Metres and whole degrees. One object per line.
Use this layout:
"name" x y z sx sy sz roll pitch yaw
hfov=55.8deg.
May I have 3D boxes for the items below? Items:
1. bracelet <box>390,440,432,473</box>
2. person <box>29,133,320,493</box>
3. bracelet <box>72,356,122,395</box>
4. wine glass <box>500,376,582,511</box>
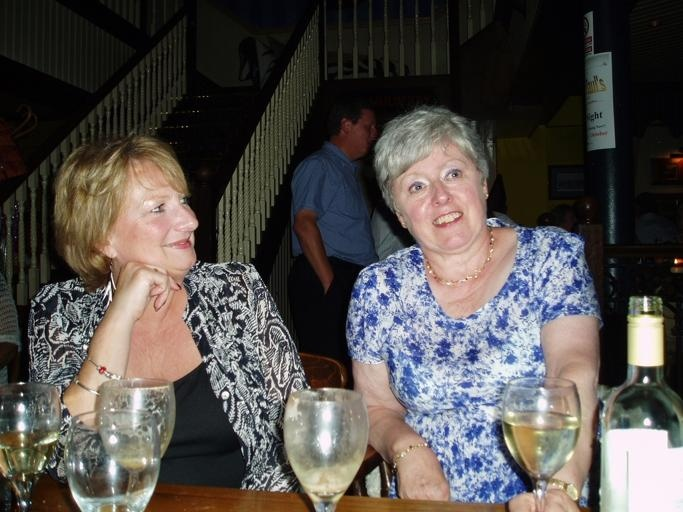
"bracelet" 0.190 0.550 1.841 0.089 0.023 0.071 -46 0 -24
"person" -0.484 0.116 2.376 0.868 1.360 0.998 -6 4 -31
"bracelet" -0.663 0.322 1.749 0.126 0.043 0.099 36 27 25
"wine glass" 0.432 0.398 1.387 0.163 0.257 0.159 -4 -2 15
